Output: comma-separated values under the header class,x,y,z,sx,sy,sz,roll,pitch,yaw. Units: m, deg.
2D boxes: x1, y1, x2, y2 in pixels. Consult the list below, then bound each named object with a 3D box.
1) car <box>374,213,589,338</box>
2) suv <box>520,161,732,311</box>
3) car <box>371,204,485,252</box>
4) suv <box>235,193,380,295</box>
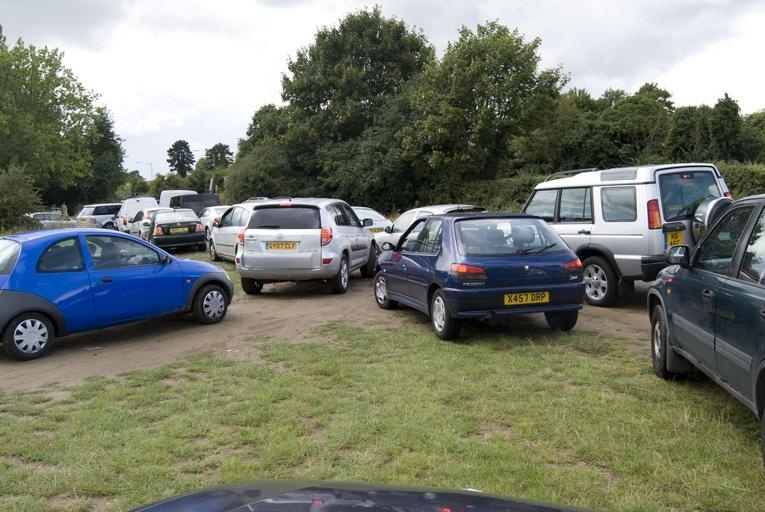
class,x,y,z,sx,sy,sz,roll,pitch,yaw
car,1.291,0.043,8.982,1.835,1.243,2.953,-2,7,-18
suv,4.447,-0.619,11.118,2.382,2.040,4.249,-4,9,-26
car,0.966,-0.923,14.459,1.391,1.121,2.490,-5,8,-43
suv,-1.582,-0.232,12.472,1.842,2.216,3.261,6,11,35
